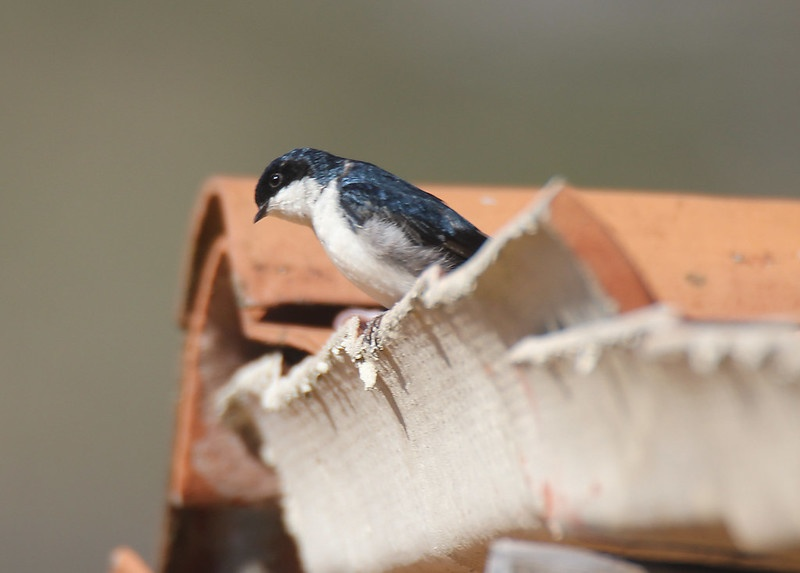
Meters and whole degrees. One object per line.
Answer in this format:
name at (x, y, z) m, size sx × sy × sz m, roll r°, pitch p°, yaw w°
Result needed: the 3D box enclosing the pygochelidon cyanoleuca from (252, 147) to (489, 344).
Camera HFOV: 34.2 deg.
pygochelidon cyanoleuca at (0.001, -0.067, 1.775) m, size 0.395 × 0.248 × 0.157 m, roll -8°, pitch 1°, yaw -13°
